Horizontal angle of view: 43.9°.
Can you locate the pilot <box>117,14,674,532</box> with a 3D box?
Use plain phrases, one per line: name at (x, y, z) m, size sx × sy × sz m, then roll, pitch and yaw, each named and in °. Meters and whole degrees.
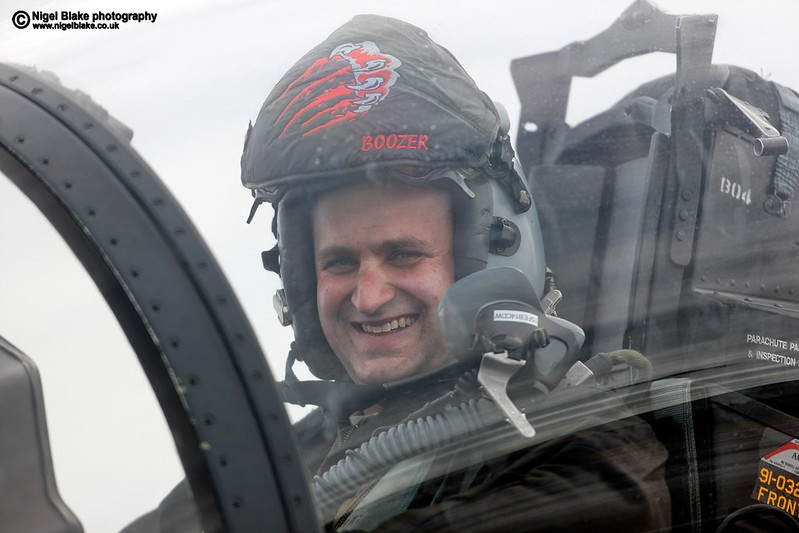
pilot at (-0.370, 0.317, 4.711) m, size 2.764 × 2.489 × 1.856 m, roll -12°, pitch -11°, yaw 30°
